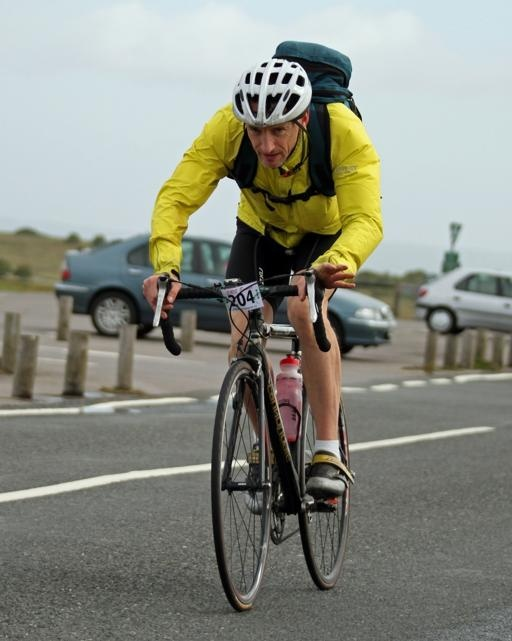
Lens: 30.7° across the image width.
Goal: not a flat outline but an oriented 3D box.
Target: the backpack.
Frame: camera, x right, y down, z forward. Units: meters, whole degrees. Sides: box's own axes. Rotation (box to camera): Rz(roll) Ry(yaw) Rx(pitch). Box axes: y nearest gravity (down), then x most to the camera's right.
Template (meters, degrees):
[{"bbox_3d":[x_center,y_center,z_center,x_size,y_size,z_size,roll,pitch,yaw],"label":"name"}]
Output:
[{"bbox_3d":[0.184,-0.824,3.639,0.361,0.492,0.484,5,2,-24],"label":"backpack"}]

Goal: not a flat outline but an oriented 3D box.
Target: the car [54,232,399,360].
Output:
[{"bbox_3d":[-0.384,-0.353,12.457,3.829,1.149,1.692,2,1,-11],"label":"car"}]

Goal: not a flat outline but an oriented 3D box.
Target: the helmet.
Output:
[{"bbox_3d":[0.052,-0.775,3.095,0.258,0.163,0.337,11,30,22],"label":"helmet"}]
